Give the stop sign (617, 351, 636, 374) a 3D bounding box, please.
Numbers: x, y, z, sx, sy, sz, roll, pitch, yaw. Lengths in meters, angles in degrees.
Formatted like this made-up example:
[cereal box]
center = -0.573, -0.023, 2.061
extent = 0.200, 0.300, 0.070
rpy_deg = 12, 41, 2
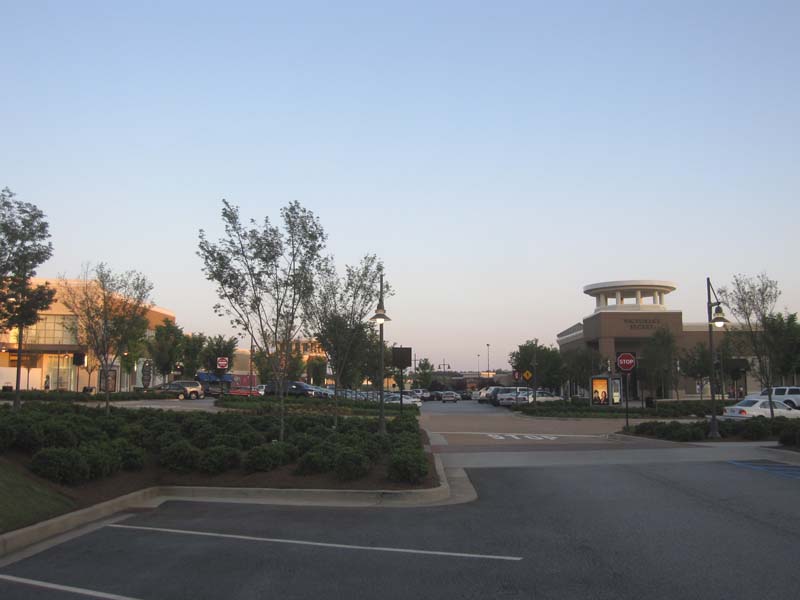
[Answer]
[stop sign]
center = 10.820, 2.938, 37.678
extent = 0.772, 0.927, 1.053
rpy_deg = -3, -8, 10
